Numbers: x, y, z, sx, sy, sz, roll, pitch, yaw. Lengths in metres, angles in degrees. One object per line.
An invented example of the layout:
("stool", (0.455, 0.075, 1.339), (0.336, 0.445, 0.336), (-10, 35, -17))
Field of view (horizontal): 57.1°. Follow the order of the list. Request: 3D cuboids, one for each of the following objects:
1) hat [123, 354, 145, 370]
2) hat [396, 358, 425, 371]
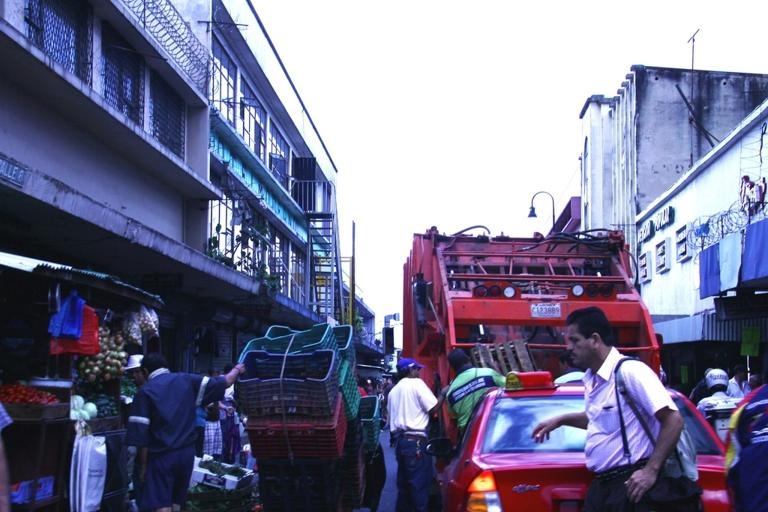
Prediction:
("hat", (-3.538, 1.491, 9.922), (0.297, 0.165, 0.279), (-4, 3, -27))
("hat", (0.465, 1.676, 10.952), (0.391, 0.164, 0.271), (0, -2, -19))
